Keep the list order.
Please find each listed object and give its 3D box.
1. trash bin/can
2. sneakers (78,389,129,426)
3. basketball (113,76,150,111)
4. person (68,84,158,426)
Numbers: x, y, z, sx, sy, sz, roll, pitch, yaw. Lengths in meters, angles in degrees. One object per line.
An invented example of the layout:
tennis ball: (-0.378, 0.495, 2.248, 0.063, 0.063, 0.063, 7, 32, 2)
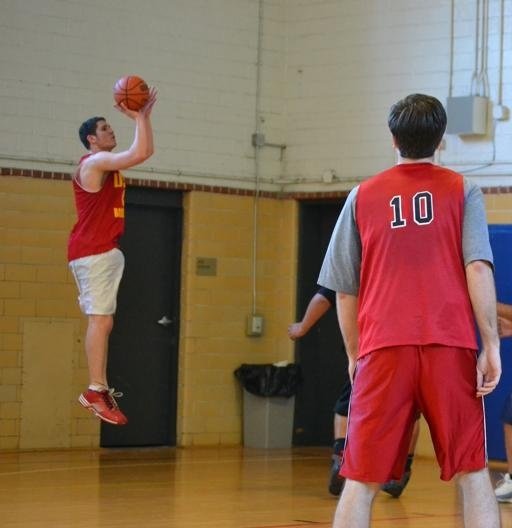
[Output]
trash bin/can: (0.222, 1.351, 8.557, 0.656, 0.896, 0.728, -5, -10, 28)
sneakers: (-1.015, 0.939, 5.990, 0.311, 0.226, 0.188, 1, -3, -3)
basketball: (-0.789, -1.080, 5.723, 0.211, 0.229, 0.225, 1, 7, 5)
person: (-0.964, 0.006, 5.933, 0.339, 2.066, 0.670, 2, -3, -33)
